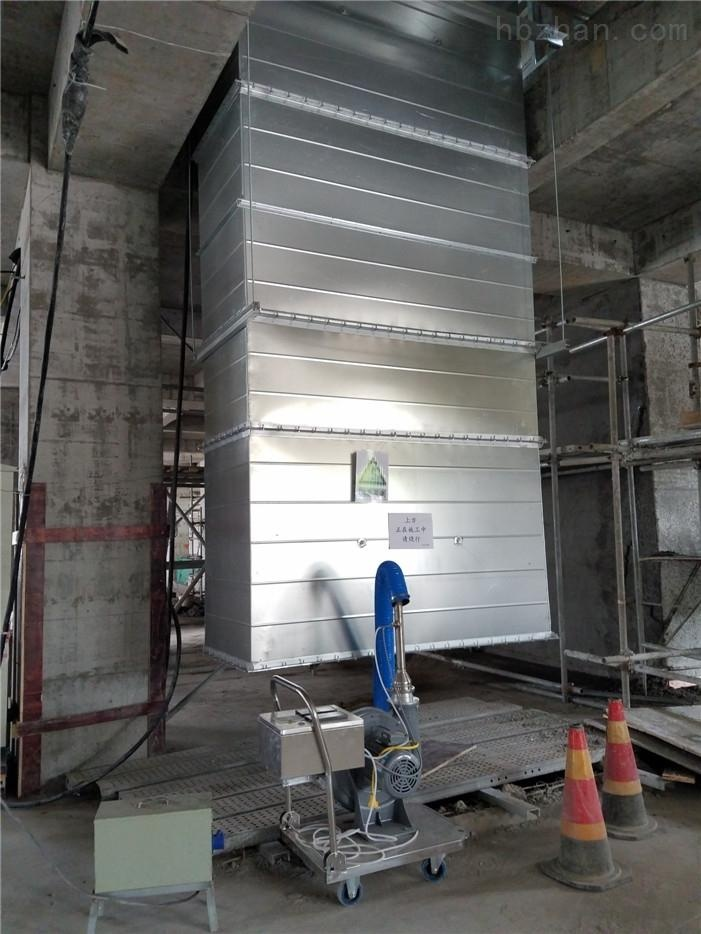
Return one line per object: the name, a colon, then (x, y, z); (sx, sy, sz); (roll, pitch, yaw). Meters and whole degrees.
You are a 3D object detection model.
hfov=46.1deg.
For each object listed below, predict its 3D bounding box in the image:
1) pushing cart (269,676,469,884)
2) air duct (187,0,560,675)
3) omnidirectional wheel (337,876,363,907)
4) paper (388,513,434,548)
pushing cart: (-0.052, 1.644, 4.620); (1.190, 1.323, 0.858); (0, -3, -23)
air duct: (0.281, -0.988, 5.697); (2.508, 4.621, 0.672); (-4, 5, -32)
omnidirectional wheel: (-0.005, 2.073, 4.044); (0.119, 0.141, 0.076); (-2, 4, -3)
paper: (0.397, 0.435, 5.617); (0.238, 0.182, 0.008); (3, -9, -20)
